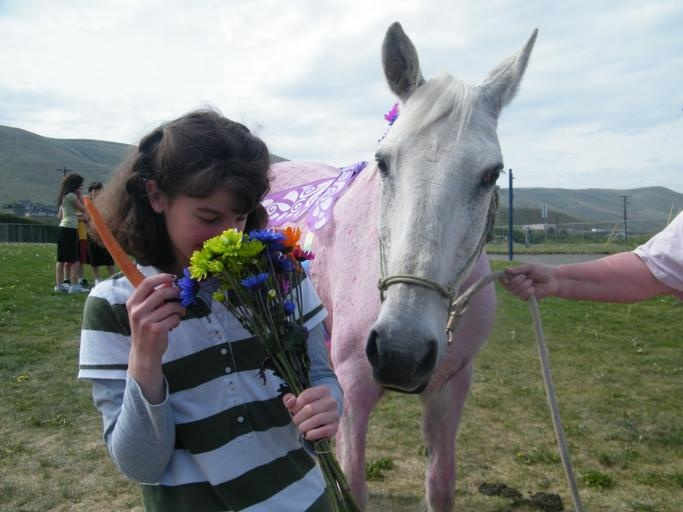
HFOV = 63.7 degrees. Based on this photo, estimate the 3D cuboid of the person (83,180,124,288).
[{"bbox_3d":[-3.988,-0.221,9.025,0.384,1.532,1.806,-11,2,-23],"label":"person"}]
